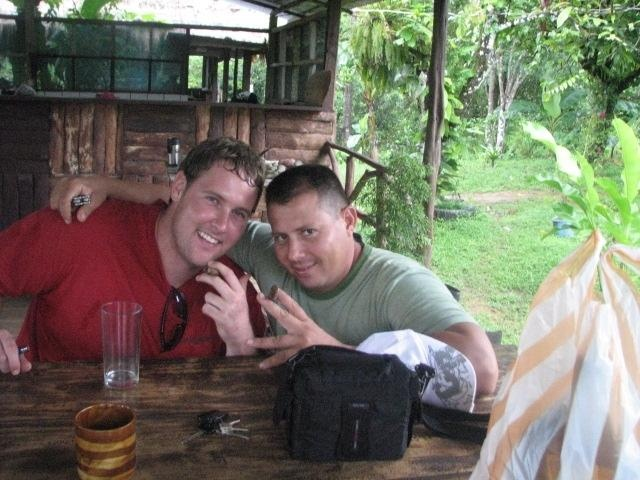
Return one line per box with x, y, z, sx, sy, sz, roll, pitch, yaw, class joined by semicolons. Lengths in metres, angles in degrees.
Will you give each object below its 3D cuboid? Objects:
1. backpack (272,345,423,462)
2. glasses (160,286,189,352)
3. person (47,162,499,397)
0.070;0.482;1.672;0.378;0.317;0.152;1;11;-7;backpack
-0.618;0.330;2.393;0.128;0.261;0.089;15;15;34;glasses
0.135;0.163;2.489;0.964;1.863;0.858;3;4;44;person
